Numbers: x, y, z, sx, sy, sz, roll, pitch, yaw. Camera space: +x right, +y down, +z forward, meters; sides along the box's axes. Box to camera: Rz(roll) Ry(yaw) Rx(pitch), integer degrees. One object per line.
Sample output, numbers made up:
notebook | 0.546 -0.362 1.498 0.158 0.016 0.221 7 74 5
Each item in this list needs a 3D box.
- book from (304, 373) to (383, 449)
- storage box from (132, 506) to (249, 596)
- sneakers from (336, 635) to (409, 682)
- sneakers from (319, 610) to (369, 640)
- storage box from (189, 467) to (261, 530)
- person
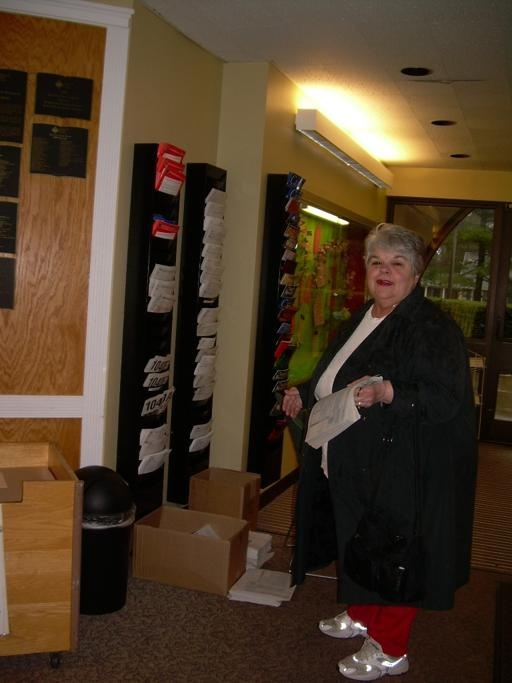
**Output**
book | 0.259 0.228 1.846 0.082 0.163 0.282 22 -33 -2
storage box | -0.313 0.975 2.727 0.481 0.345 0.379 6 1 15
sneakers | 0.394 1.125 2.095 0.288 0.173 0.103 4 -2 -2
sneakers | 0.347 1.151 2.334 0.233 0.084 0.094 4 3 1
storage box | -0.189 0.896 3.256 0.436 0.288 0.418 4 2 -34
person | 0.435 0.384 2.059 0.572 1.562 0.657 6 1 -20
